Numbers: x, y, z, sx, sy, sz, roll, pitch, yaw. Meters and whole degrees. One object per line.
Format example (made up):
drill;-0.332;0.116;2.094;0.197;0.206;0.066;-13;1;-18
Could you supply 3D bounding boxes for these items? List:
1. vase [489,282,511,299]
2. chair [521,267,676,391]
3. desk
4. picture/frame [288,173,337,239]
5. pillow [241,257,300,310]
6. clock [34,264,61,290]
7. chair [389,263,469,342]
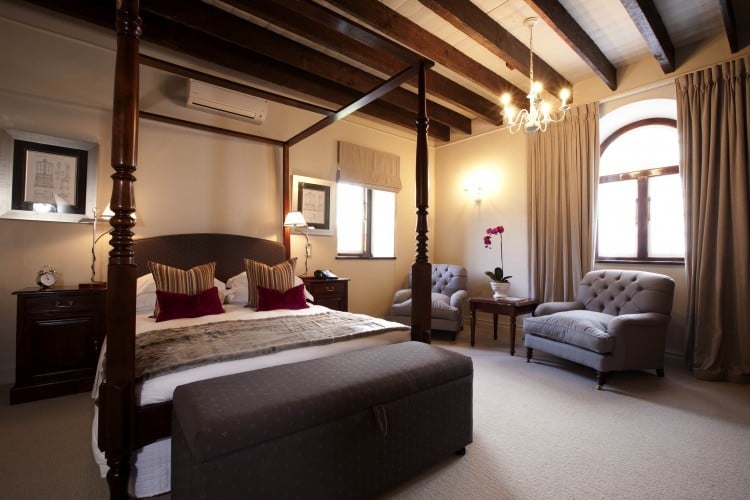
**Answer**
vase;1.726;0.566;7.177;0.236;0.185;0.249;-3;-4;27
chair;2.689;0.908;6.261;0.956;1.227;1.366;1;1;-40
desk;1.790;1.019;7.259;0.886;0.680;0.854;0;2;-39
picture/frame;-0.950;-0.633;7.425;0.966;1.131;0.075;-1;2;-43
pillow;-1.295;0.430;6.197;0.562;0.536;0.205;0;-16;-37
clock;-3.653;0.307;5.688;0.161;0.323;0.200;-13;-17;36
chair;0.807;0.730;7.761;1.108;1.069;1.062;0;-4;26
